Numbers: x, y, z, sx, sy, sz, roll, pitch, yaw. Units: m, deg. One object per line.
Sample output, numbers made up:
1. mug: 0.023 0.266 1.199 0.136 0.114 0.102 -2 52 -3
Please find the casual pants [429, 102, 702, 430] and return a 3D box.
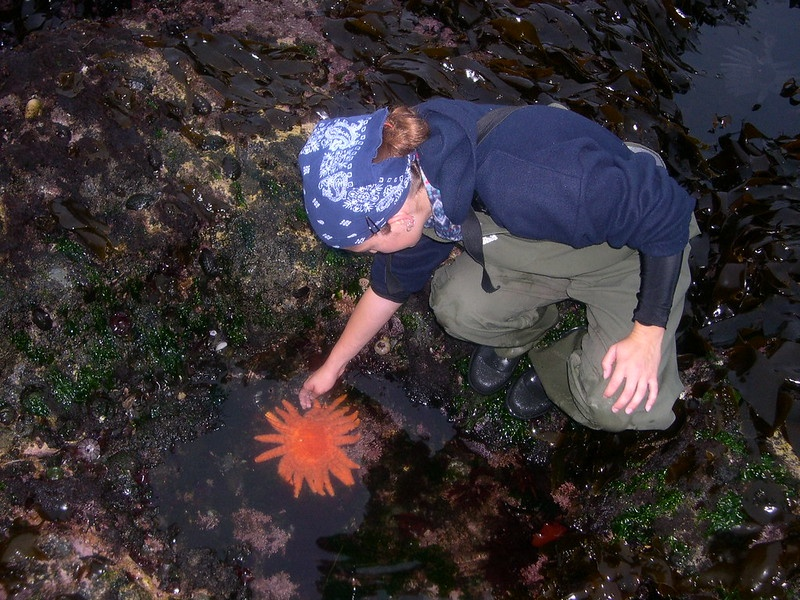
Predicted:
1. casual pants: 0.984 -0.127 4.953 1.426 1.784 1.060 31 82 40
